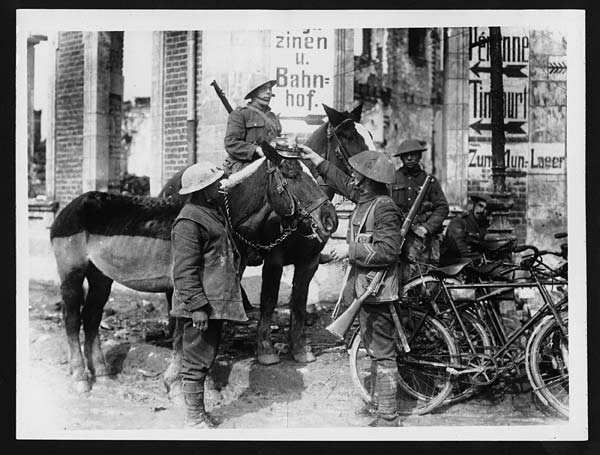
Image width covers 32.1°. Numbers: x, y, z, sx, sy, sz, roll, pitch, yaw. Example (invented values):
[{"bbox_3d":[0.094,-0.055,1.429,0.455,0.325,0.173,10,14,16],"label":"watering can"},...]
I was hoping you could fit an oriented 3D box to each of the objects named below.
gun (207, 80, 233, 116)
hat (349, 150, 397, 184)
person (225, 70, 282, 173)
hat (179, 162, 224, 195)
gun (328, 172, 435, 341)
[{"bbox_3d":[-0.973,-1.606,12.788,0.209,0.553,0.093,-38,11,-31],"label":"gun"},{"bbox_3d":[0.795,-0.637,11.206,0.405,0.190,0.337,32,12,9],"label":"hat"},{"bbox_3d":[-0.507,-1.195,12.017,0.570,1.128,0.713,5,8,28],"label":"person"},{"bbox_3d":[-1.056,-0.520,11.034,0.389,0.155,0.320,-36,22,-25],"label":"hat"},{"bbox_3d":[0.952,0.326,11.402,0.346,2.080,0.222,27,0,-8],"label":"gun"}]
